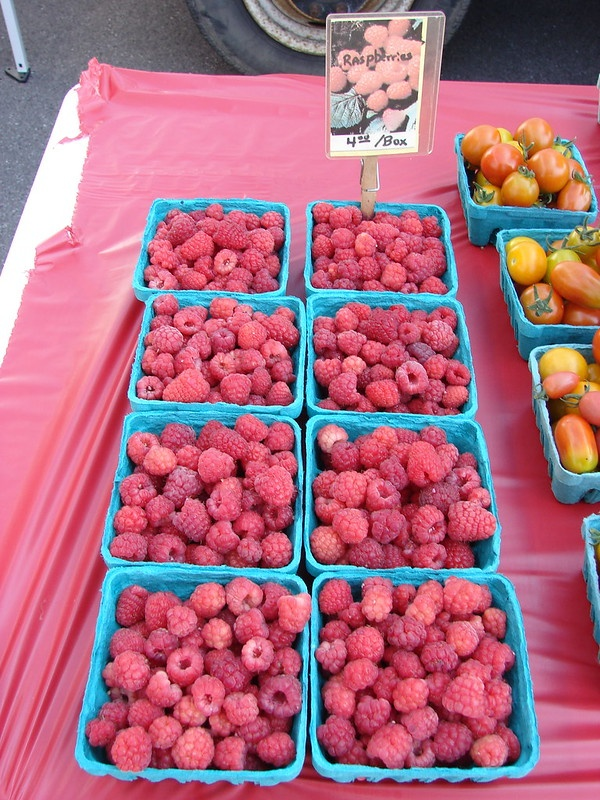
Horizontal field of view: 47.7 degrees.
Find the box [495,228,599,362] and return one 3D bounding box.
[{"bbox_3d":[0.765,-0.373,2.146,0.281,0.154,0.421,-1,60,-1],"label":"box"}]

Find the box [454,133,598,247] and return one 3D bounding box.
[{"bbox_3d":[0.754,-0.672,2.401,0.386,0.203,0.477,4,72,-2],"label":"box"}]

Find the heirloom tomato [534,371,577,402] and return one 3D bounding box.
[{"bbox_3d":[0.677,-0.037,1.797,0.086,0.050,0.051,-35,74,6],"label":"heirloom tomato"}]

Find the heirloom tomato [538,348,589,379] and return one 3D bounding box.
[{"bbox_3d":[0.722,-0.104,1.877,0.098,0.114,0.098,-3,68,10],"label":"heirloom tomato"}]

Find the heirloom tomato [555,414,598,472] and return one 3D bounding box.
[{"bbox_3d":[0.694,0.118,1.709,0.085,0.080,0.149,10,58,-18],"label":"heirloom tomato"}]

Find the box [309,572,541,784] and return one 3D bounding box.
[{"bbox_3d":[0.269,0.573,1.436,0.494,0.225,0.414,-1,59,2],"label":"box"}]
